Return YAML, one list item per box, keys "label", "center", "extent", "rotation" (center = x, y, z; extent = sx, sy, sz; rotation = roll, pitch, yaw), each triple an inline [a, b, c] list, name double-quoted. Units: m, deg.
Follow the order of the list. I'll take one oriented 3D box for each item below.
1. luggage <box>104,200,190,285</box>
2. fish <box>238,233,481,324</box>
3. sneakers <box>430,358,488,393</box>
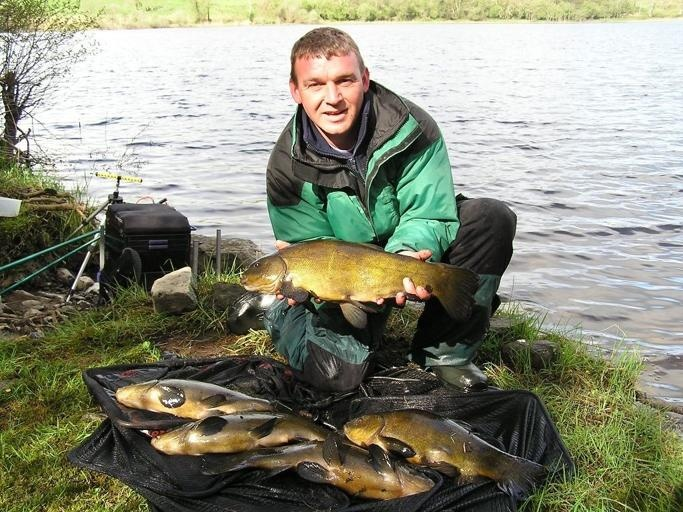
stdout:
- label: "luggage"
  center: [-2.160, -0.119, 6.286]
  extent: [0.954, 0.790, 0.753]
  rotation: [15, 21, 37]
- label: "fish"
  center: [0.087, 0.198, 3.870]
  extent: [1.612, 0.621, 0.198]
  rotation: [4, 19, 9]
- label: "sneakers"
  center: [0.900, 0.898, 4.342]
  extent: [0.390, 0.111, 0.195]
  rotation: [1, 6, 39]
